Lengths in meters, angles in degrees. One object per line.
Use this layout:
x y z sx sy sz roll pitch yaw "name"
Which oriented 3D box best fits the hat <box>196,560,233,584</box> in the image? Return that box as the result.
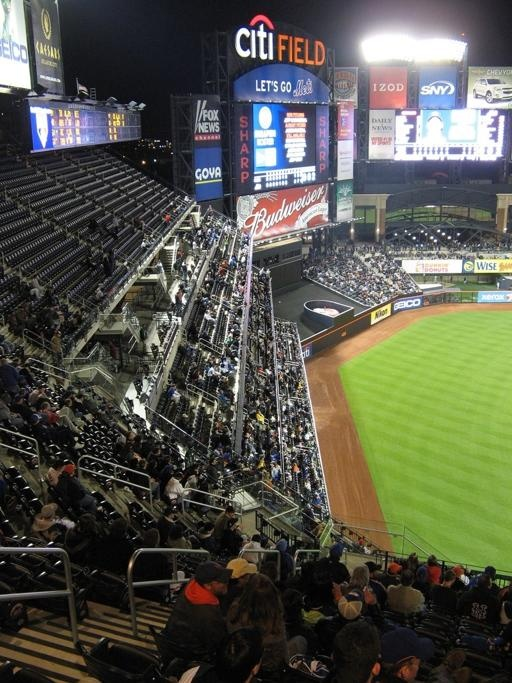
-0.290 1.601 3.185 0.225 0.124 0.155 2 18 -9 "hat"
